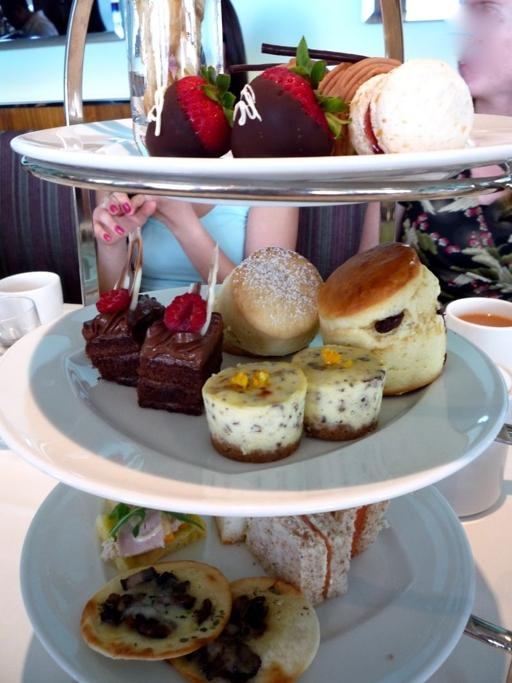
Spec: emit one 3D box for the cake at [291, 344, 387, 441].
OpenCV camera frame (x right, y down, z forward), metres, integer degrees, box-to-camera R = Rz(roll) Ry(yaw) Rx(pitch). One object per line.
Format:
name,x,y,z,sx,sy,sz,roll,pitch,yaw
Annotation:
cake,0.071,0.045,0.577,0.095,0.059,0.088,3,20,-25

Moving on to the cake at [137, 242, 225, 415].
cake,-0.082,-0.006,0.668,0.098,0.133,0.115,13,29,12

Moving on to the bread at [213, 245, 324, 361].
bread,0.013,-0.046,0.767,0.146,0.075,0.126,-12,49,-14

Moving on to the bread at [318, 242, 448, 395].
bread,0.127,-0.029,0.660,0.147,0.124,0.133,-29,29,-28

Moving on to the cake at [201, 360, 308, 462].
cake,0.001,0.061,0.539,0.095,0.060,0.091,10,25,26
